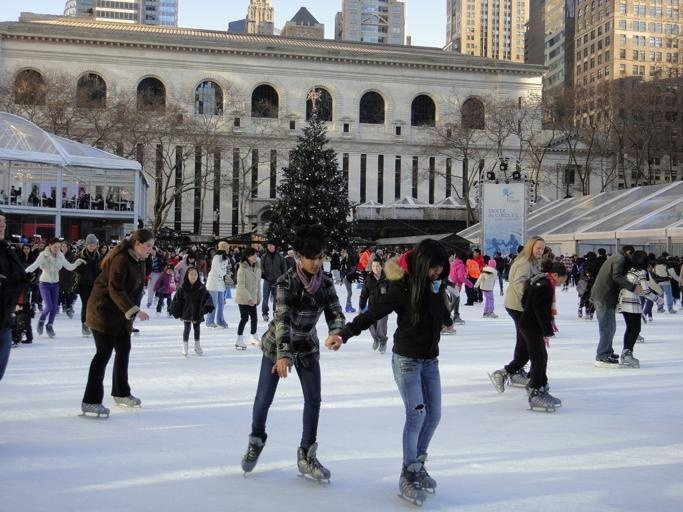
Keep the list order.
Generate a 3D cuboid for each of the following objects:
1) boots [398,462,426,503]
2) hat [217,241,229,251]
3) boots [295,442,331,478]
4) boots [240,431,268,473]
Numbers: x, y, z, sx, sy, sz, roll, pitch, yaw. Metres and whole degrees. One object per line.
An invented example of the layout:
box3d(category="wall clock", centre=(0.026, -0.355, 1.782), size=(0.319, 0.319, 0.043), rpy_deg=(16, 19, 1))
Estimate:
box3d(category="boots", centre=(0.879, 2.852, 11.825), size=(0.317, 0.470, 0.297), rpy_deg=(1, 9, 2))
box3d(category="hat", centre=(-2.713, -0.214, 21.349), size=(0.191, 0.211, 0.267), rpy_deg=(3, 14, 10))
box3d(category="boots", centre=(-0.364, 2.664, 12.221), size=(0.553, 0.481, 0.219), rpy_deg=(8, 5, 42))
box3d(category="boots", centre=(-1.181, 2.560, 12.373), size=(0.316, 0.529, 0.306), rpy_deg=(-3, 9, -22))
